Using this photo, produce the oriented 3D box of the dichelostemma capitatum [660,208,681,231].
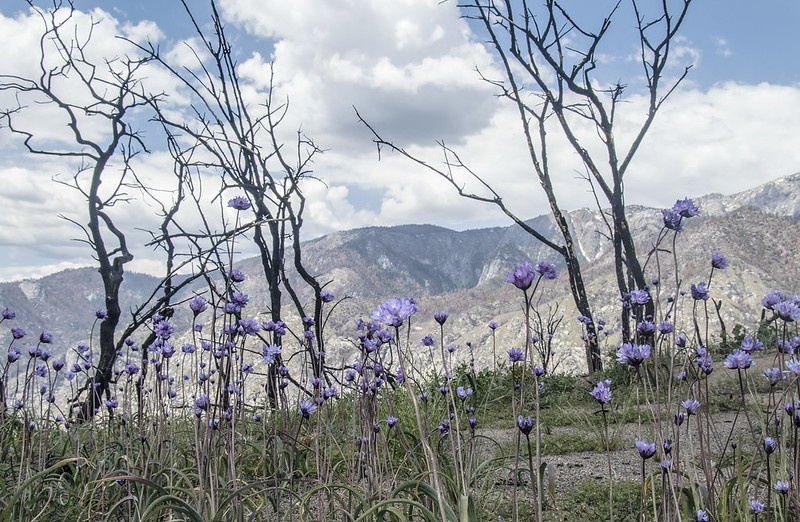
[{"bbox_3d":[3.200,-0.466,8.842,0.211,0.321,0.161,-12,-20,26],"label":"dichelostemma capitatum"}]
